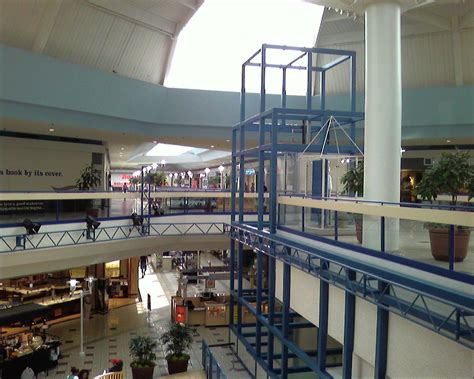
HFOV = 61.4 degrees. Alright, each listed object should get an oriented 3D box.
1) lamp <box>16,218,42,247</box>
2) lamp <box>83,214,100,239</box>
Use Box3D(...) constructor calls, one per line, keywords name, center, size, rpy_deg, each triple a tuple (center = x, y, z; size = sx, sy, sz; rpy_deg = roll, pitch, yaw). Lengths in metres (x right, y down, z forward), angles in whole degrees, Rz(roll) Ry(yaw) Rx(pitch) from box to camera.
Box3D(name="lamp", center=(-7.984, 1.683, 15.204), size=(0.848, 1.003, 0.538), rpy_deg=(1, 1, -38))
Box3D(name="lamp", center=(-6.208, 1.662, 17.023), size=(0.561, 1.031, 0.708), rpy_deg=(1, 1, -22))
